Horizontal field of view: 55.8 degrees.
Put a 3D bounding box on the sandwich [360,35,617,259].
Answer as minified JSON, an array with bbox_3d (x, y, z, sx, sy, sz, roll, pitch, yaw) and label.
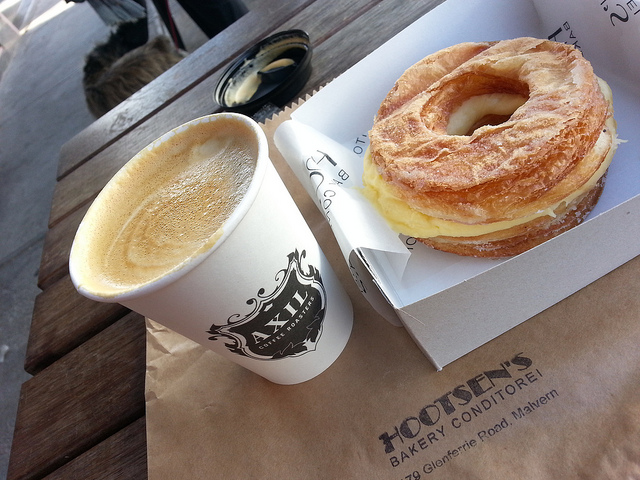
[{"bbox_3d":[0.362,-0.201,1.353,0.536,0.283,0.433,-35,44,0],"label":"sandwich"}]

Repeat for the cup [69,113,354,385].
[{"bbox_3d":[-0.201,0.065,1.269,0.410,0.468,0.347,-21,46,13],"label":"cup"}]
